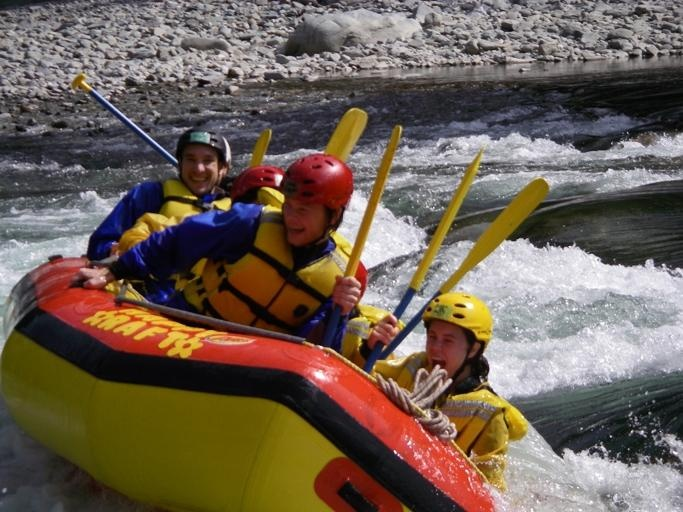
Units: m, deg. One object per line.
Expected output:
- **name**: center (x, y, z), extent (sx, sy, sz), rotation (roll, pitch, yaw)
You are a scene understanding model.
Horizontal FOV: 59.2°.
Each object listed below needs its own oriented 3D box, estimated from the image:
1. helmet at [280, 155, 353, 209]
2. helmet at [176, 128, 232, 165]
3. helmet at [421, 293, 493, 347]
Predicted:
- **helmet**: center (-0.096, -0.305, 2.616), extent (0.250, 0.295, 0.165), rotation (14, 67, 35)
- **helmet**: center (-0.805, -0.631, 3.557), extent (0.259, 0.230, 0.146), rotation (3, 12, -6)
- **helmet**: center (0.559, 0.281, 2.654), extent (0.344, 0.182, 0.237), rotation (11, 1, -17)
